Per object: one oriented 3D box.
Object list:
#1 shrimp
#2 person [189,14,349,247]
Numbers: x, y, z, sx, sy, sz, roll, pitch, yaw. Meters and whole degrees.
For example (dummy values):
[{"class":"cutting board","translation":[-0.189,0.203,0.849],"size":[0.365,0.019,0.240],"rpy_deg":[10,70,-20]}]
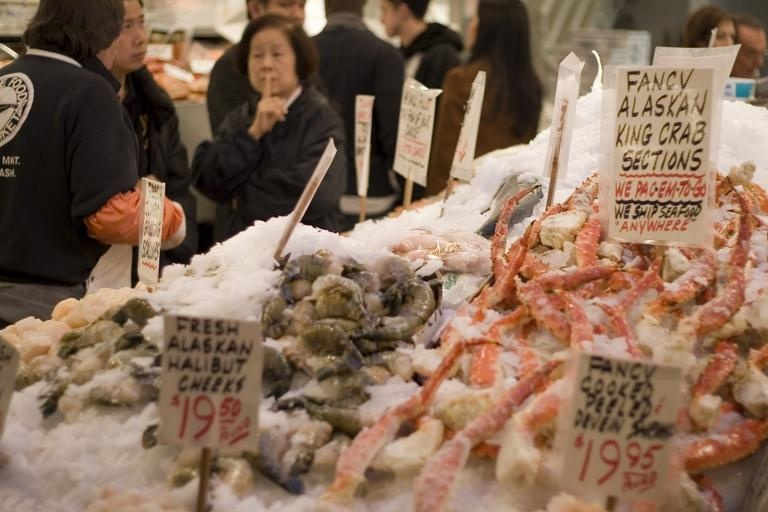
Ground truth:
[{"class":"shrimp","translation":[-0.345,0.303,1.959],"size":[0.927,0.285,0.742],"rpy_deg":[-36,47,-14]},{"class":"person","translation":[-0.630,-0.722,3.576],"size":[0.548,1.578,0.638],"rpy_deg":[-4,9,-29]}]
